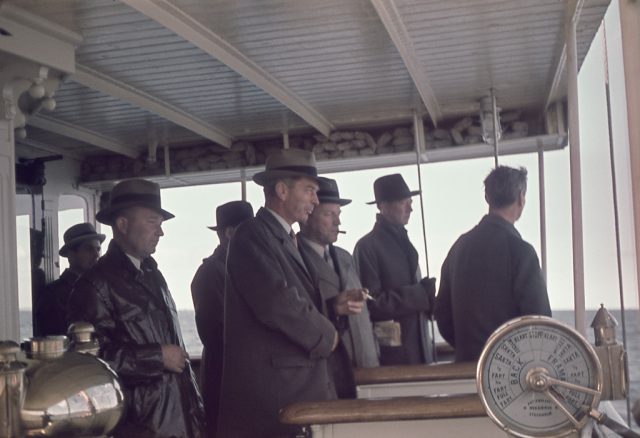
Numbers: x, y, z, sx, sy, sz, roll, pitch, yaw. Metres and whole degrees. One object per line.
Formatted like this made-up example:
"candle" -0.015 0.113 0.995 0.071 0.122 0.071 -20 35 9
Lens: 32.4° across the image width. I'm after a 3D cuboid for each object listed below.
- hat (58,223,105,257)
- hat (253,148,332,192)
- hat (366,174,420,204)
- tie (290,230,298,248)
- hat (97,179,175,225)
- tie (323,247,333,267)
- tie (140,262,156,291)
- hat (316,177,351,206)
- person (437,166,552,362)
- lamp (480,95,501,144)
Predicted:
"hat" -2.868 0.287 12.958 0.430 0.175 0.385 -29 -7 15
"hat" -0.269 -0.484 10.461 0.807 0.352 0.736 0 -6 0
"hat" 0.754 -0.318 11.944 0.354 0.147 0.326 -20 -4 33
"tie" -0.246 0.190 10.258 0.047 0.130 0.095 -24 30 19
"hat" -1.857 -0.193 10.844 0.804 0.353 0.714 -2 -10 -18
"tie" 0.072 0.372 11.082 0.041 0.148 0.108 -15 -34 3
"tie" -1.655 0.548 10.562 0.083 0.245 0.175 -23 -5 13
"hat" 0.143 -0.295 11.339 0.297 0.127 0.266 -4 -10 34
"person" 1.609 0.415 10.530 1.158 1.823 0.342 -5 -7 30
"lamp" 1.998 -1.167 12.958 0.251 0.500 0.589 -3 -6 9
